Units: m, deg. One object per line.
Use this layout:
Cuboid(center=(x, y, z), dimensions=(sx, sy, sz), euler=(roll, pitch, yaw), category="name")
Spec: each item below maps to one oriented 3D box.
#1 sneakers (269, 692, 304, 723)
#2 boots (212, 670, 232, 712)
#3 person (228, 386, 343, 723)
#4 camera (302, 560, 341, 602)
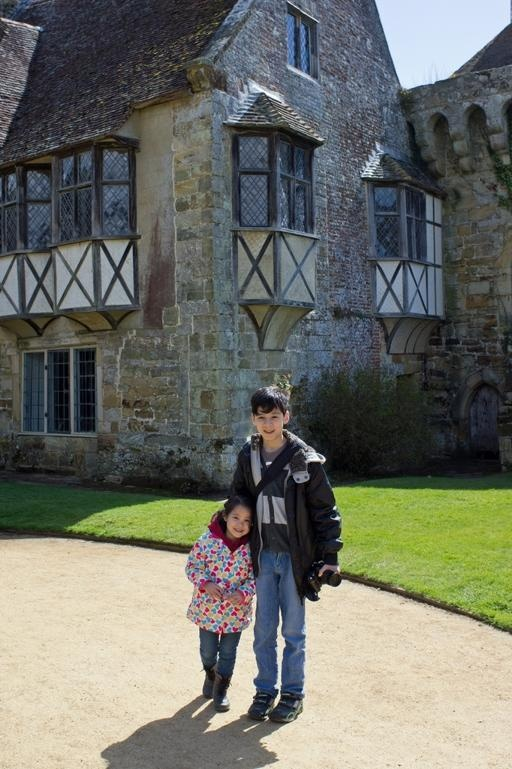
Cuboid(center=(0.156, 1.646, 4.674), dimensions=(0.077, 0.087, 0.206), euler=(-4, -16, 19), category="sneakers")
Cuboid(center=(-0.180, 1.612, 4.793), dimensions=(0.080, 0.179, 0.198), euler=(6, 1, -9), category="boots")
Cuboid(center=(0.148, 0.860, 4.778), dimensions=(0.593, 1.682, 0.418), euler=(0, 3, 8), category="person")
Cuboid(center=(0.311, 0.977, 4.631), dimensions=(0.208, 0.201, 0.082), euler=(-36, -15, 29), category="camera")
